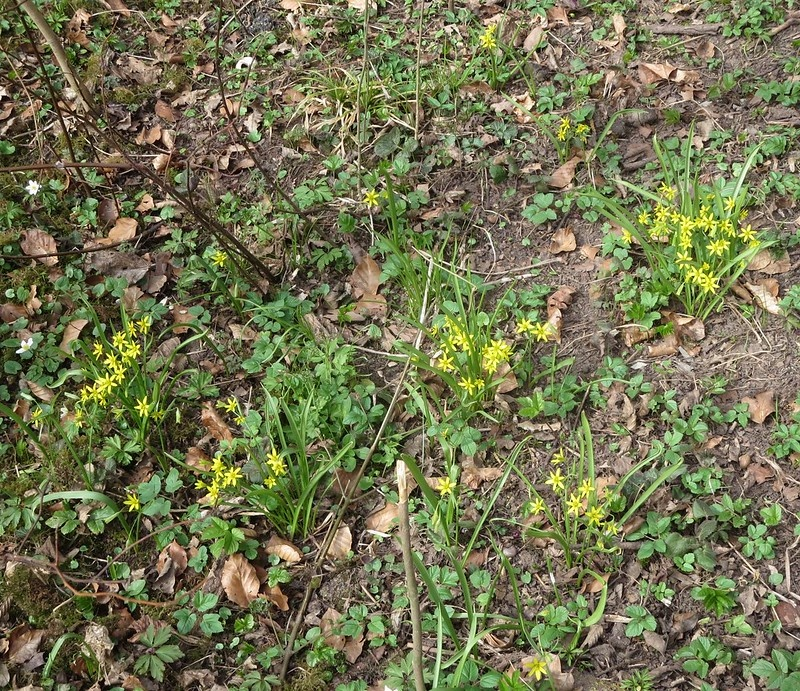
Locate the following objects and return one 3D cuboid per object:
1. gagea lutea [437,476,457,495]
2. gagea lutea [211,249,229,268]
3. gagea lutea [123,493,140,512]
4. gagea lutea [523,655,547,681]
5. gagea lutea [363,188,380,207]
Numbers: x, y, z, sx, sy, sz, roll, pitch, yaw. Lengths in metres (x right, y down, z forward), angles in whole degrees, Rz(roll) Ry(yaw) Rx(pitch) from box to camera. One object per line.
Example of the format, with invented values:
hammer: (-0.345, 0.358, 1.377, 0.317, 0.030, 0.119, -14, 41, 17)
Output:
gagea lutea: (0.222, 0.665, 3.433, 0.025, 0.102, 0.093, -3, 11, -39)
gagea lutea: (-0.993, -0.490, 4.203, 0.095, 0.111, 0.041, -9, 0, -28)
gagea lutea: (-1.261, 0.761, 3.614, 0.094, 0.123, 0.050, -9, -4, 37)
gagea lutea: (0.541, 1.326, 3.085, 0.102, 0.106, 0.048, 2, 6, 42)
gagea lutea: (-0.171, -0.811, 4.262, 0.103, 0.121, 0.046, 9, 17, 24)
